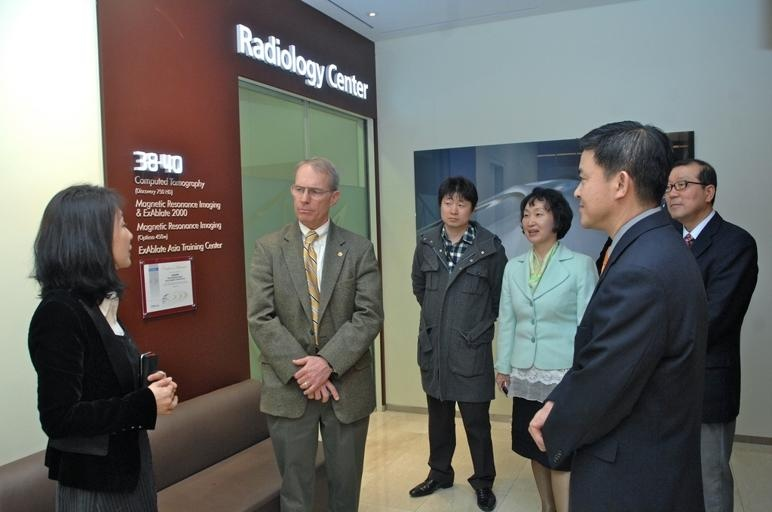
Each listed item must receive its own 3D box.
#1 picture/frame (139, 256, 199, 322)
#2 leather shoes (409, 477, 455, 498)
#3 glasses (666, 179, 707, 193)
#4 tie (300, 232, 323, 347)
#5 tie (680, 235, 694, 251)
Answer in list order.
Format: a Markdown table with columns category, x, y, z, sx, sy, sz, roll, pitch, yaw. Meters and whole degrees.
| category | x | y | z | sx | sy | sz | roll | pitch | yaw |
| --- | --- | --- | --- | --- | --- | --- | --- | --- | --- |
| picture/frame | -1.491 | 0.216 | 3.561 | 0.042 | 0.432 | 0.444 | -3 | 0 | 38 |
| leather shoes | 0.348 | 1.758 | 4.080 | 0.354 | 0.152 | 0.117 | -2 | 2 | -18 |
| glasses | 1.888 | -0.444 | 3.272 | 0.176 | 0.055 | 0.175 | 4 | -6 | -26 |
| tie | -0.440 | 0.162 | 3.168 | 0.085 | 0.775 | 0.084 | -3 | -11 | -3 |
| tie | 1.628 | -0.075 | 2.827 | 0.034 | 0.099 | 0.075 | 24 | -3 | -7 |
